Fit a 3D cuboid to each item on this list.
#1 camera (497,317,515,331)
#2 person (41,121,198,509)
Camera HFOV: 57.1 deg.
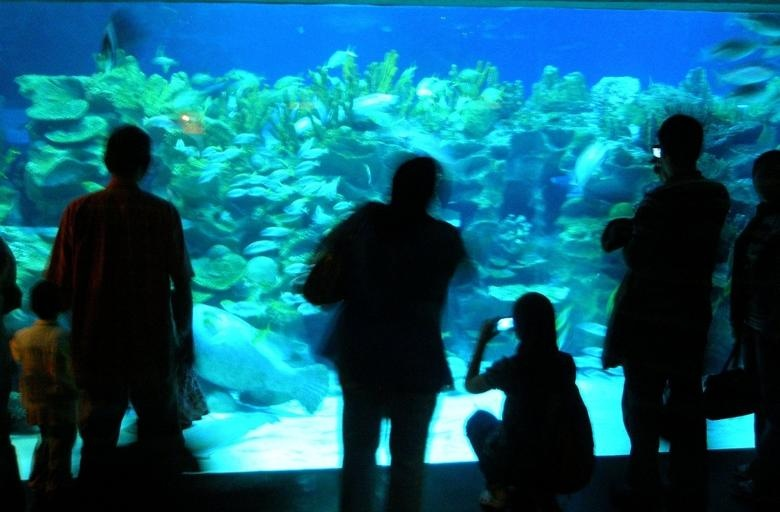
[{"bbox_3d":[1.050,0.604,6.415,0.249,0.100,0.150,-2,8,14],"label":"camera"},{"bbox_3d":[-2.338,0.358,6.267,1.145,2.943,0.568,-1,-8,-18],"label":"person"}]
